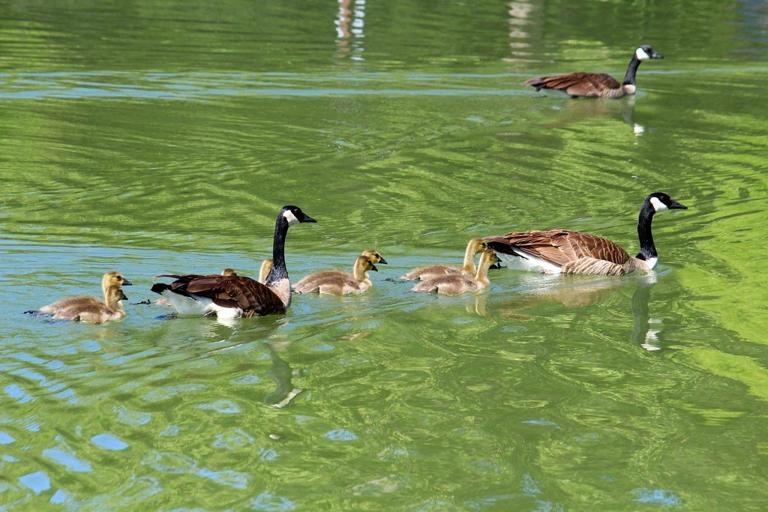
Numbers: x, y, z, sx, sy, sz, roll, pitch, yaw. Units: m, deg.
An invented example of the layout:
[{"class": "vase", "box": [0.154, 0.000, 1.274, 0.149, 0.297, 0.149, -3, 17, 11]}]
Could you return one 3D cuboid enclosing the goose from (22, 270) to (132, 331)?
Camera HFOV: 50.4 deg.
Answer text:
[{"class": "goose", "box": [-5.600, 0.801, 15.488, 1.619, 0.871, 0.913, -13, 25, -35]}]
